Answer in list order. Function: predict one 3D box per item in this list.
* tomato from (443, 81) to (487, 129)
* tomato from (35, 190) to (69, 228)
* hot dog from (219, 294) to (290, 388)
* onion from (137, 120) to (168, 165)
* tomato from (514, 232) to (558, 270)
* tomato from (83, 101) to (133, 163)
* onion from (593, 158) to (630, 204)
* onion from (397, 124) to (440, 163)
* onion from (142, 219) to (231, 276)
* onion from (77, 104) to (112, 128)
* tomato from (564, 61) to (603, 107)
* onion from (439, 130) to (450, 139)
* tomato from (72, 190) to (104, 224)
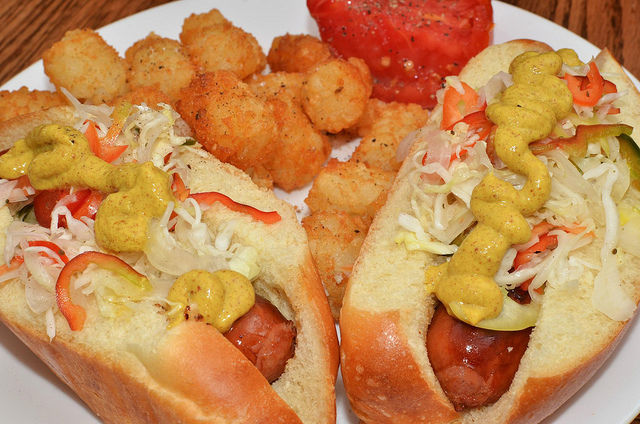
[{"bbox_3d":[0.874,-0.625,3.942,0.299,0.419,0.103,-12,72,9],"label":"tomato"},{"bbox_3d":[-1.553,-0.006,3.763,0.211,0.109,0.221,-20,66,14],"label":"tomato"},{"bbox_3d":[-0.327,0.737,3.607,0.416,0.225,0.422,-34,88,-25],"label":"hot dog"},{"bbox_3d":[-1.003,-0.413,3.746,0.153,0.061,0.241,11,73,25],"label":"onion"},{"bbox_3d":[1.193,0.201,3.527,0.238,0.097,0.130,-46,69,4],"label":"tomato"},{"bbox_3d":[-1.222,-0.486,3.726,0.269,0.084,0.342,27,79,-1],"label":"tomato"},{"bbox_3d":[1.665,-0.150,3.608,0.183,0.067,0.274,29,97,26],"label":"onion"},{"bbox_3d":[0.623,-0.457,4.142,0.265,0.380,0.090,-19,64,-10],"label":"onion"},{"bbox_3d":[-0.770,0.175,3.565,0.295,0.365,0.118,27,96,0],"label":"onion"},{"bbox_3d":[-1.368,-0.578,3.870,0.197,0.079,0.054,38,114,-3],"label":"onion"},{"bbox_3d":[1.547,-0.722,3.737,0.202,0.058,0.220,-14,68,1],"label":"tomato"},{"bbox_3d":[0.721,-0.445,3.689,0.045,0.013,0.046,-4,63,20],"label":"onion"},{"bbox_3d":[-1.310,-0.039,3.634,0.124,0.051,0.201,27,86,16],"label":"tomato"}]
